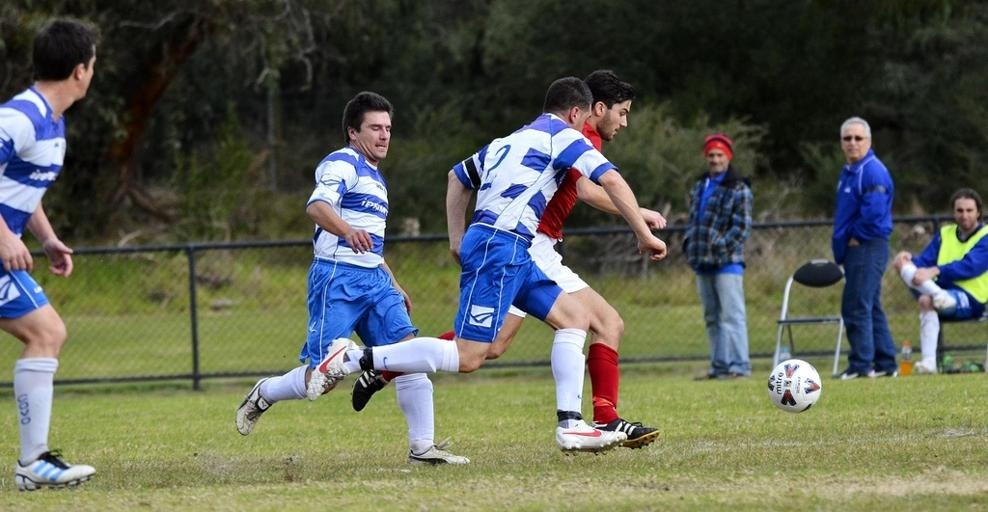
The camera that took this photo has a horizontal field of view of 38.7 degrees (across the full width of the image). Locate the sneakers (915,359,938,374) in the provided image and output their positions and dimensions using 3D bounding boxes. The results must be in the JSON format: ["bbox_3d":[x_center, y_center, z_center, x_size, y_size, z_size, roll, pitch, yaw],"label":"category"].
[{"bbox_3d":[8.259,2.115,26.940,0.466,0.183,0.200,5,3,13],"label":"sneakers"}]

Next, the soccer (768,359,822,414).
[{"bbox_3d":[5.348,2.190,24.931,1.000,0.849,0.950,7,14,17],"label":"soccer"}]

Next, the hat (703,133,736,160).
[{"bbox_3d":[4.453,-2.210,27.966,0.595,0.556,0.682,3,0,14],"label":"hat"}]

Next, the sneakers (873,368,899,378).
[{"bbox_3d":[7.454,2.209,26.747,0.551,0.206,0.175,1,-1,11],"label":"sneakers"}]
